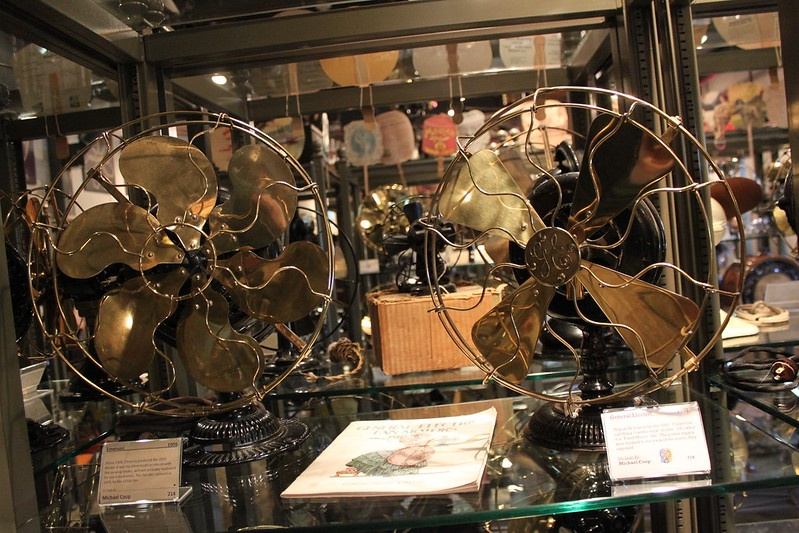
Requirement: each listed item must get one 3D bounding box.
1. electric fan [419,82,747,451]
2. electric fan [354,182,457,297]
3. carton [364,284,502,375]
[{"bbox_3d":[0.568,0.011,2.532,0.844,1.143,0.381,-3,3,22],"label":"electric fan"},{"bbox_3d":[0.046,-0.098,3.291,0.285,0.415,0.325,4,-11,12],"label":"electric fan"},{"bbox_3d":[0.186,0.296,3.196,0.544,0.263,0.548,0,-14,-12],"label":"carton"}]
